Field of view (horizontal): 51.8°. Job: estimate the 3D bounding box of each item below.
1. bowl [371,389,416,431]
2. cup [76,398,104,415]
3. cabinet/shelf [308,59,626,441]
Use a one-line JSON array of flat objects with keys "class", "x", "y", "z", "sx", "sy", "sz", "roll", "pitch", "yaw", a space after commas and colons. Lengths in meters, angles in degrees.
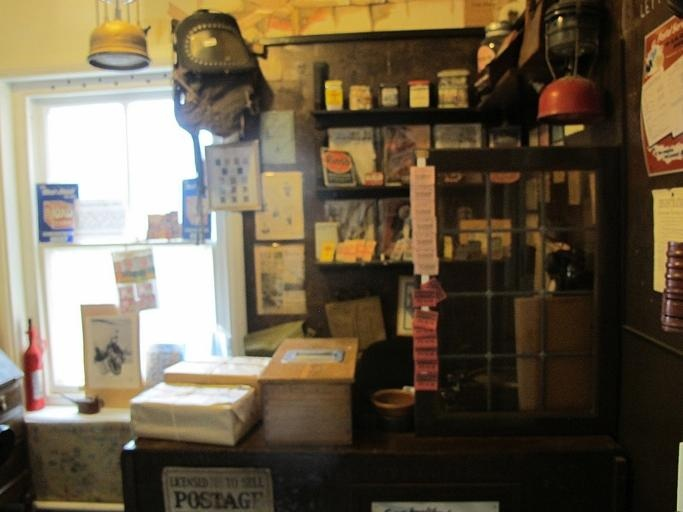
[{"class": "bowl", "x": 0.266, "y": 0.764, "z": 3.528, "sx": 0.212, "sy": 0.142, "sz": 0.215, "roll": -8, "pitch": 12, "yaw": 2}, {"class": "cup", "x": -1.510, "y": 0.905, "z": 4.212, "sx": 0.123, "sy": 0.090, "sz": 0.088, "roll": 5, "pitch": -2, "yaw": -2}, {"class": "cabinet/shelf", "x": 0.878, "y": -0.048, "z": 3.890, "sx": 1.696, "sy": 2.399, "sz": 1.309, "roll": 0, "pitch": 2, "yaw": 7}]
